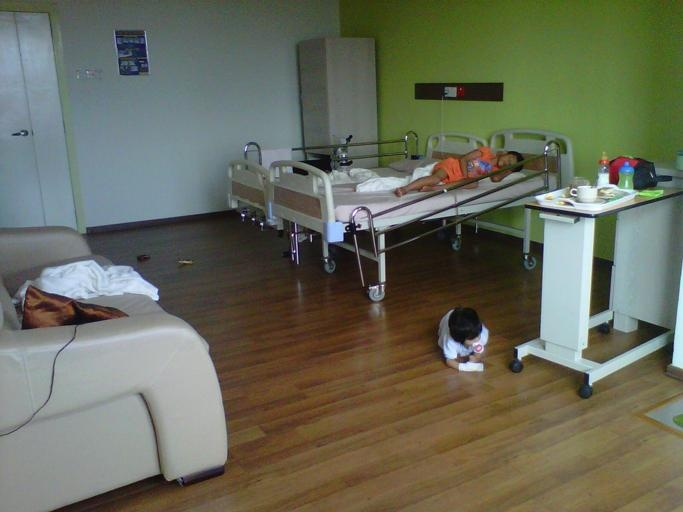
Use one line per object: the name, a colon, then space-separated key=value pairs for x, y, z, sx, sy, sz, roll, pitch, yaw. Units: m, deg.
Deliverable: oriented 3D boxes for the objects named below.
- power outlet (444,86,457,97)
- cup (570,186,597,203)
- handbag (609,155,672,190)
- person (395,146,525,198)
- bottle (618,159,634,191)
power outlet: x=1.087 y=-1.637 z=5.356 sx=0.017 sy=0.086 sz=0.120 roll=-12 pitch=20 yaw=-39
cup: x=1.229 y=-0.307 z=2.751 sx=0.135 sy=0.087 sz=0.093 roll=5 pitch=11 yaw=41
handbag: x=1.671 y=-0.473 z=3.021 sx=0.262 sy=0.138 sz=0.201 roll=7 pitch=11 yaw=25
person: x=1.019 y=-0.693 z=4.483 sx=0.801 sy=0.218 sz=0.259 roll=-10 pitch=49 yaw=-13
bottle: x=1.573 y=-0.445 z=2.969 sx=0.077 sy=0.141 sz=0.121 roll=2 pitch=20 yaw=17
